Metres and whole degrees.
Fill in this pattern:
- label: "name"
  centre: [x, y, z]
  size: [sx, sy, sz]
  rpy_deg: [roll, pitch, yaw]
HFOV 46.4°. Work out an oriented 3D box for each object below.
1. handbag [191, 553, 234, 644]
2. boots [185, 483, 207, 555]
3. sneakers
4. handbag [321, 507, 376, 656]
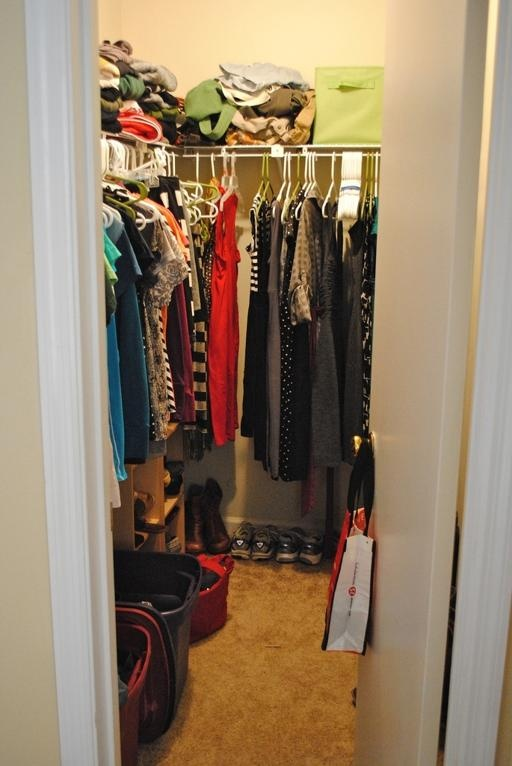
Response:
- label: "handbag"
  centre: [-0.152, 0.738, 2.017]
  size: [0.113, 0.314, 0.255]
  rpy_deg: [2, -1, 13]
- label: "boots"
  centre: [-0.282, 0.610, 2.759]
  size: [0.071, 0.190, 0.283]
  rpy_deg: [-1, 29, -3]
- label: "sneakers"
  centre: [0.095, 0.736, 2.752]
  size: [0.415, 0.107, 0.228]
  rpy_deg: [2, 7, 10]
- label: "handbag"
  centre: [0.189, 0.405, 1.239]
  size: [0.097, 0.302, 0.197]
  rpy_deg: [1, 6, 8]
